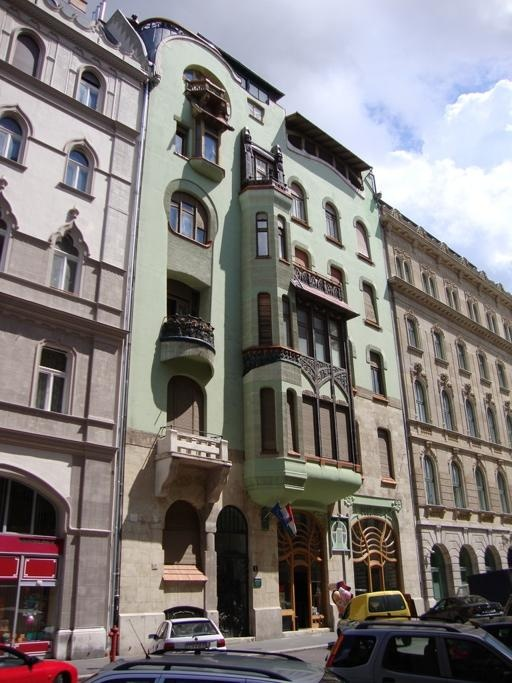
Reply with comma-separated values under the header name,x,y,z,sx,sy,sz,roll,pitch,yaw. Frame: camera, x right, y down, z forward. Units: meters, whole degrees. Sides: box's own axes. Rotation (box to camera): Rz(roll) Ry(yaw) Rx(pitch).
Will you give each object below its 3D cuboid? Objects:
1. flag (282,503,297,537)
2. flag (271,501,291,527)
name,x,y,z,sx,sy,sz,roll,pitch,yaw
flag,1.361,7.437,22.947,0.743,0.339,2.493,35,-21,20
flag,1.024,7.029,22.621,0.946,1.008,0.121,27,-20,-12
